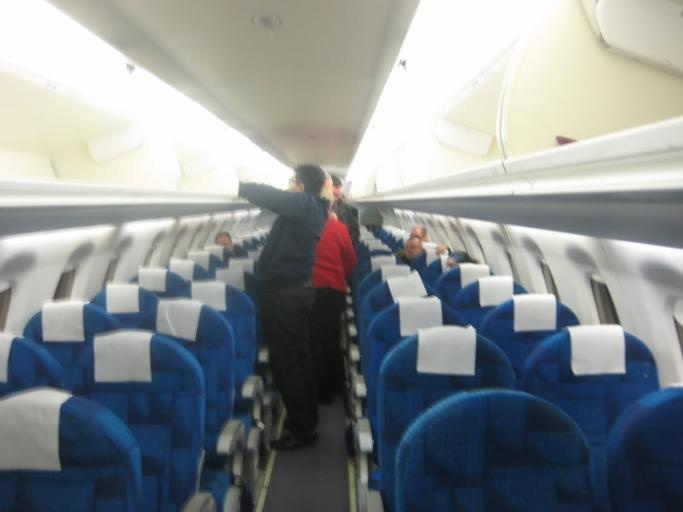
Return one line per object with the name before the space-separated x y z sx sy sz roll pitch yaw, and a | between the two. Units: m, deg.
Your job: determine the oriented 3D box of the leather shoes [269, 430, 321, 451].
leather shoes | -0.381 1.529 4.461 0.412 0.204 0.142 6 -17 -4
